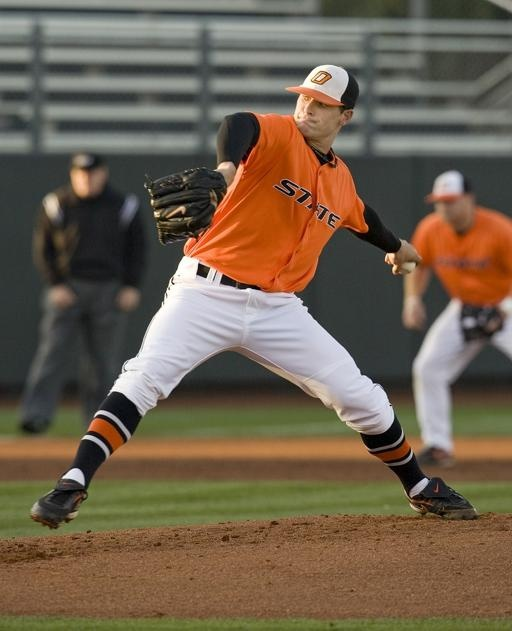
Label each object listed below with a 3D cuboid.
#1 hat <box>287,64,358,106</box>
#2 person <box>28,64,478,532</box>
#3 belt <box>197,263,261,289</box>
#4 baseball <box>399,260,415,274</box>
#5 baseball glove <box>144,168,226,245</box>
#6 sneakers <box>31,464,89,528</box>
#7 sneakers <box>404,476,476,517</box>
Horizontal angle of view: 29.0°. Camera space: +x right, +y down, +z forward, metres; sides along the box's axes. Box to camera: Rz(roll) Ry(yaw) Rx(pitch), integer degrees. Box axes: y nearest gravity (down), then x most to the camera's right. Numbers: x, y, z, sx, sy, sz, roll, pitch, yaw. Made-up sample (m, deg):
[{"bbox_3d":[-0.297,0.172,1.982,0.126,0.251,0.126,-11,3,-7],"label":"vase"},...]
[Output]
[{"bbox_3d":[0.291,-0.868,3.795,0.179,0.114,0.261,26,14,40],"label":"hat"},{"bbox_3d":[-0.079,-0.115,3.748,0.696,1.708,1.364,-1,-1,36],"label":"person"},{"bbox_3d":[-0.121,-0.132,3.645,0.141,0.042,0.115,19,1,-22],"label":"belt"},{"bbox_3d":[0.686,-0.223,4.456,0.053,0.058,0.028,19,1,-45],"label":"baseball"},{"bbox_3d":[-0.229,-0.367,3.214,0.261,0.245,0.204,0,-1,-3],"label":"baseball glove"},{"bbox_3d":[-0.673,0.630,3.441,0.108,0.117,0.268,36,18,8],"label":"sneakers"},{"bbox_3d":[0.765,0.780,4.160,0.363,0.136,0.119,11,25,-11],"label":"sneakers"}]
